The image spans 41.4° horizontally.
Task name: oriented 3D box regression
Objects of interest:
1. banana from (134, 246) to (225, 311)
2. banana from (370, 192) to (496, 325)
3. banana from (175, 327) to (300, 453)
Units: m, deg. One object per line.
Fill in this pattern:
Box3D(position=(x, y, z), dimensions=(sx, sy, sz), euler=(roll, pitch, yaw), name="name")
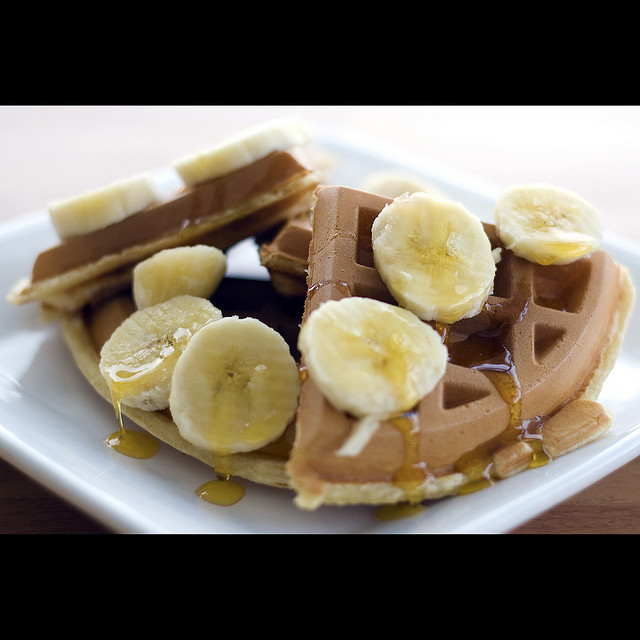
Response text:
Box3D(position=(-0.384, -0.104, 2.051), dimensions=(0.268, 0.221, 0.078), euler=(-10, 88, -29), name="banana")
Box3D(position=(0.224, -0.122, 1.662), dimensions=(0.236, 0.136, 0.231), euler=(-1, 50, -1), name="banana")
Box3D(position=(-0.169, 0.135, 1.699), dimensions=(0.246, 0.138, 0.208), euler=(-5, 50, -3), name="banana")
